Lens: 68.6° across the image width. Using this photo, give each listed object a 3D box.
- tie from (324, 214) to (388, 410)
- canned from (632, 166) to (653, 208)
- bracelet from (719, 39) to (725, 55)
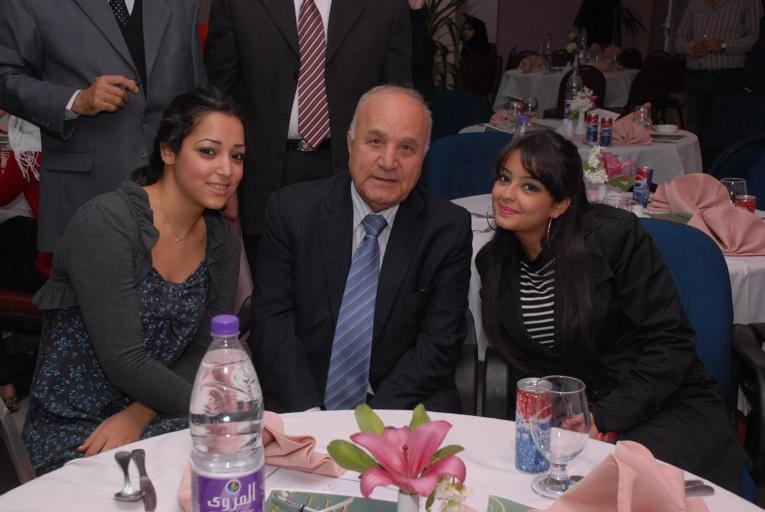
[{"bbox_3d":[-0.089,0.217,2.093,0.151,0.718,0.069,10,-11,3],"label":"tie"},{"bbox_3d":[1.452,-0.378,3.112,0.091,0.240,0.098,-8,25,-6],"label":"canned"},{"bbox_3d":[3.824,-2.343,6.309,0.066,0.100,0.035,-1,-3,0],"label":"bracelet"}]
